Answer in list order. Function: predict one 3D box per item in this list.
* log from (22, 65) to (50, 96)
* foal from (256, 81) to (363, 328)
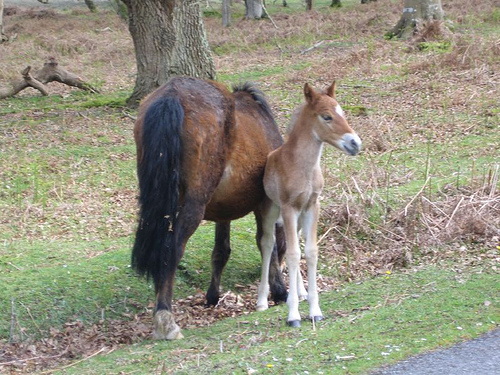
[{"bbox_3d":[-5.808,-2.875,19.930,0.492,0.809,1.587,-6,10,-2],"label":"log"},{"bbox_3d":[0.972,0.271,11.451,1.726,3.332,1.878,5,8,45],"label":"foal"}]
